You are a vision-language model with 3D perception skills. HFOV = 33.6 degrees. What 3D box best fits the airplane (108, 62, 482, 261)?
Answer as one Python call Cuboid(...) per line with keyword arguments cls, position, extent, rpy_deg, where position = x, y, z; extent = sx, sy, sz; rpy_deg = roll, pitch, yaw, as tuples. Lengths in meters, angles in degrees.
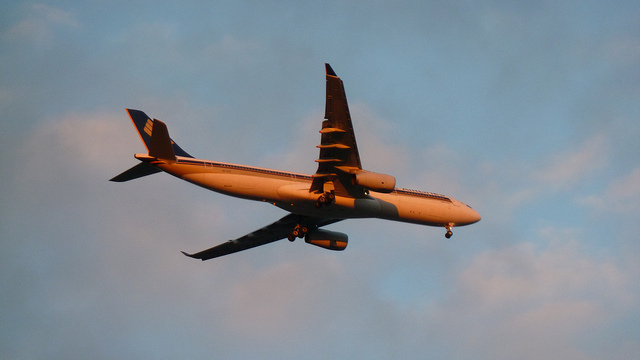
Cuboid(cls="airplane", position=(-0.546, 0.526, 56.651), extent=(19.610, 4.607, 17.435), rpy_deg=(10, -38, -22))
